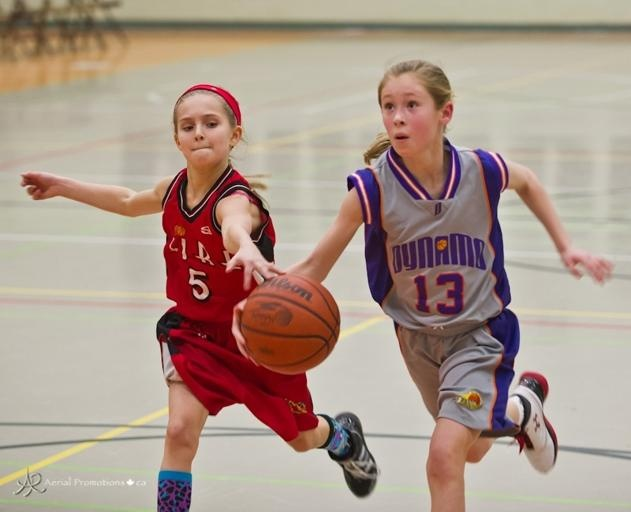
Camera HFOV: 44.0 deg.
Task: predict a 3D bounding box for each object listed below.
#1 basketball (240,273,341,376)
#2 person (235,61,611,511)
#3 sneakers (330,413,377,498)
[{"bbox_3d":[-0.123,0.277,3.197,0.408,0.387,0.410,10,9,32],"label":"basketball"},{"bbox_3d":[0.561,0.067,3.251,0.996,1.798,0.671,-5,4,-32],"label":"person"},{"bbox_3d":[0.190,0.961,3.816,0.144,0.390,0.159,-31,-30,17],"label":"sneakers"}]
